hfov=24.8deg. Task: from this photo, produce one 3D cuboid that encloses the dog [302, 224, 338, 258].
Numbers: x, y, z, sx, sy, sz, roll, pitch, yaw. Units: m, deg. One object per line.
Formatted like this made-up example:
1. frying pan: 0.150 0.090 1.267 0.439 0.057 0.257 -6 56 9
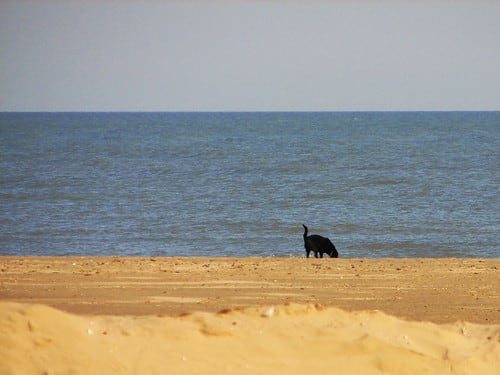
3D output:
1. dog: 4.015 3.322 65.581 1.012 1.753 3.043 -14 -25 42
